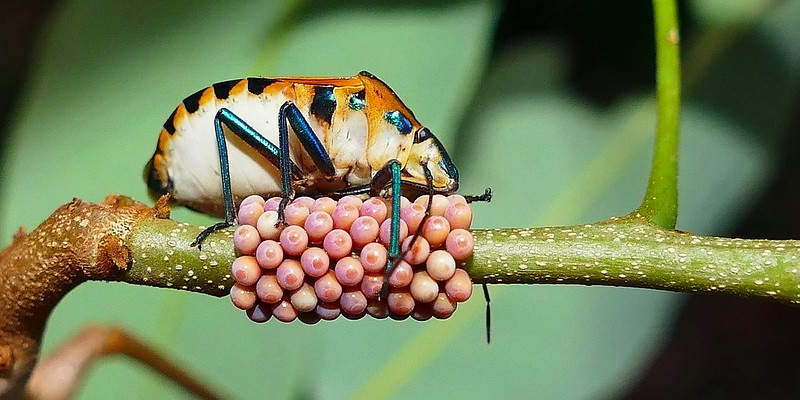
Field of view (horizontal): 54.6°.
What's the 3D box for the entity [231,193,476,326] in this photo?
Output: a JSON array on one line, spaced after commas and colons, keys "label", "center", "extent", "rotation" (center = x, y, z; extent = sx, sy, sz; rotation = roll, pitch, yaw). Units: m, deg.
[{"label": "entity", "center": [-0.115, 0.136, 1.844], "extent": [0.572, 0.128, 0.288], "rotation": [-1, 71, 0]}]
